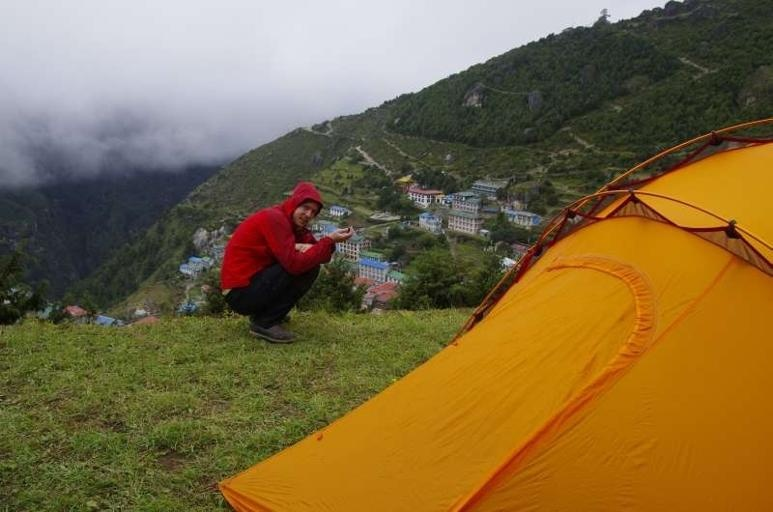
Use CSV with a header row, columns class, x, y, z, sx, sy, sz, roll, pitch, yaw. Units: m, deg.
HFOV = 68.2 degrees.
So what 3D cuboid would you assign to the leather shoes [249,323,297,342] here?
class,x,y,z,sx,sy,sz,roll,pitch,yaw
leather shoes,-1.401,0.909,6.998,0.540,0.240,0.214,4,2,3
